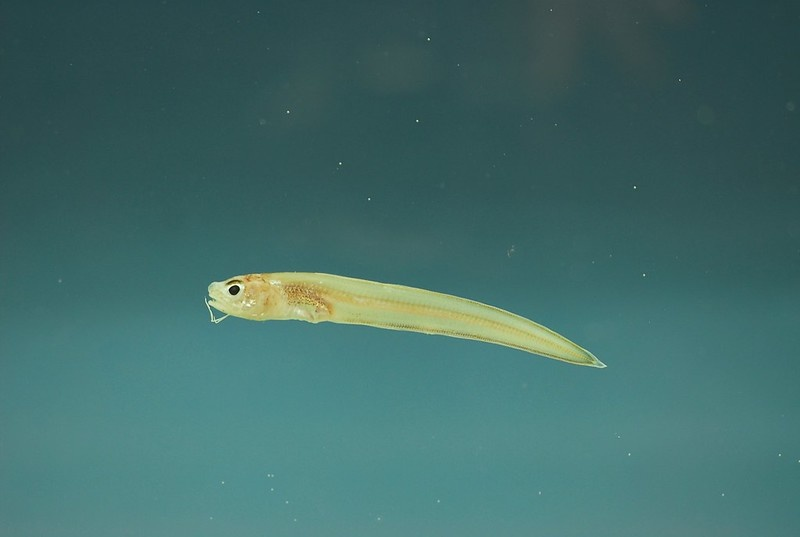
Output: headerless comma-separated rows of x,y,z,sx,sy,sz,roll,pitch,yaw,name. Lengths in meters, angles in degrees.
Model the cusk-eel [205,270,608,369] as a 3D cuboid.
0.106,0.277,6.448,1.727,0.353,0.372,7,-39,3,cusk-eel
